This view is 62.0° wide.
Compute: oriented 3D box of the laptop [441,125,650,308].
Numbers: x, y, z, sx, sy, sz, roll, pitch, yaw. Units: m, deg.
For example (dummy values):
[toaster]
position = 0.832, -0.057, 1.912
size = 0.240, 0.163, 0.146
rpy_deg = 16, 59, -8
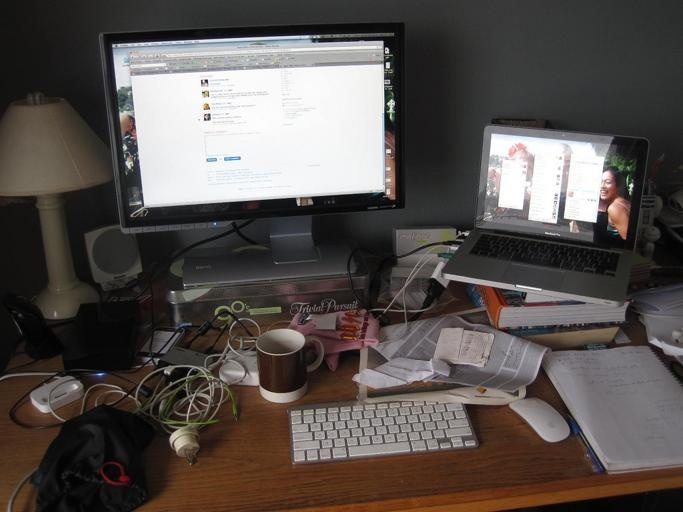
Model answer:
[laptop]
position = 0.476, -0.088, 1.349
size = 0.486, 0.354, 0.405
rpy_deg = 12, 42, 20

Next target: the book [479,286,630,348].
[book]
position = 0.456, 0.140, 1.231
size = 0.169, 0.040, 0.171
rpy_deg = 5, 26, 12

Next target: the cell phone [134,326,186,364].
[cell phone]
position = -0.399, 0.199, 1.246
size = 0.082, 0.014, 0.141
rpy_deg = 7, 36, 13

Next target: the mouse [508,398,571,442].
[mouse]
position = 0.378, 0.297, 1.071
size = 0.055, 0.021, 0.089
rpy_deg = -10, 30, -26

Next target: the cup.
[cup]
position = -0.096, 0.205, 1.185
size = 0.164, 0.122, 0.102
rpy_deg = -14, 33, -31

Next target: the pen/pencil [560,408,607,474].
[pen/pencil]
position = 0.437, 0.342, 1.035
size = 0.019, 0.018, 0.102
rpy_deg = -36, 41, 20

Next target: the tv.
[tv]
position = -0.209, -0.245, 1.279
size = 0.605, 0.499, 0.198
rpy_deg = -4, 25, -9
